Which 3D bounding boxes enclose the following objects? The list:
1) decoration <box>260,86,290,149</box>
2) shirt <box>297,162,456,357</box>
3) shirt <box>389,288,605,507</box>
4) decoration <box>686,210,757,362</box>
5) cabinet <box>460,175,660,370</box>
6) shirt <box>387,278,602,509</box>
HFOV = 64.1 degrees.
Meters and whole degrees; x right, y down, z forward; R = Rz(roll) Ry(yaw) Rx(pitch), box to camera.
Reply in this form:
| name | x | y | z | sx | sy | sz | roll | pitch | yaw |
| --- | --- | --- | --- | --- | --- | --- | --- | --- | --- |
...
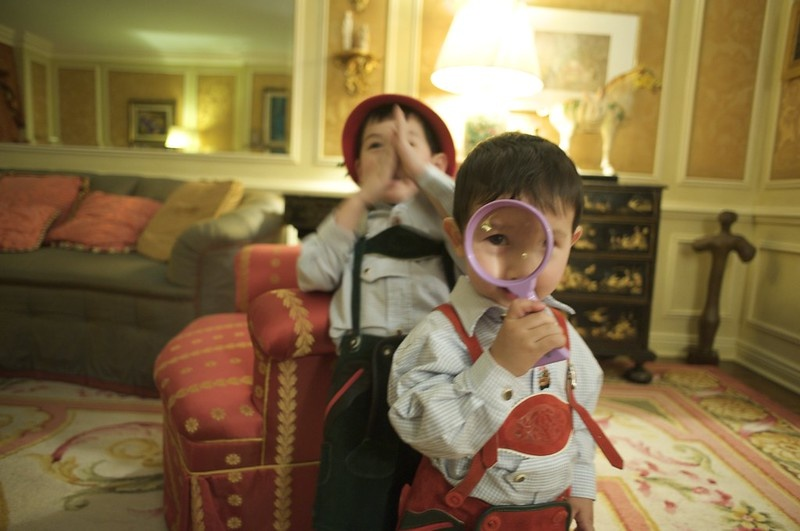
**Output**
| name | x | y | z | sx | sy | sz | roll | pitch | yaw |
| --- | --- | --- | --- | --- | --- | --- | --- | --- | --- |
| decoration | -0.905 | -1.058 | 4.654 | 0.187 | 0.441 | 0.056 | 3 | 13 | 7 |
| shirt | -0.077 | 0.000 | 2.665 | 0.822 | 0.534 | 0.887 | -4 | 39 | 4 |
| shirt | 0.339 | 0.514 | 2.378 | 0.885 | 0.850 | 0.485 | 2 | 1 | -17 |
| decoration | 2.229 | 0.150 | 4.531 | 0.382 | 1.078 | 0.278 | -3 | 14 | -20 |
| cabinet | 1.101 | -0.028 | 4.699 | 1.152 | 1.581 | 1.101 | 0 | 3 | 4 |
| shirt | 0.333 | 0.505 | 2.381 | 0.934 | 0.926 | 0.507 | 1 | 2 | -18 |
